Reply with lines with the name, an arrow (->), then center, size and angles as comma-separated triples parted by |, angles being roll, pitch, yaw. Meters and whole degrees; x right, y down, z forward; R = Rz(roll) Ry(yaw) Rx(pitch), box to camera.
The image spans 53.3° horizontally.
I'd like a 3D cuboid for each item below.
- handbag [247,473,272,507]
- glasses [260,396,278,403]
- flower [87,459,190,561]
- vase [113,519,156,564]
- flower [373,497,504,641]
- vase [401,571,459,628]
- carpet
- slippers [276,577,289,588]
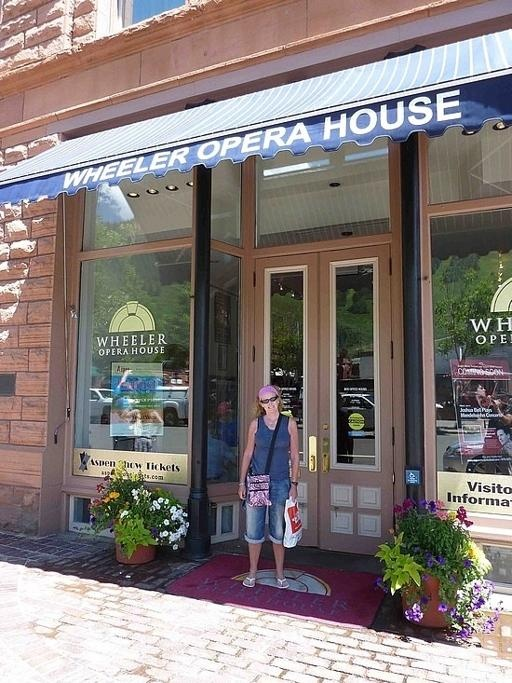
handbag -> 0.035, 1.233, 4.251 | 0.250, 0.309, 0.116 | 0, -12, 0
glasses -> 0.113, 0.477, 4.248 | 0.140, 0.066, 0.074 | 0, -7, -2
flower -> -1.194, 1.819, 5.164 | 0.801, 0.870, 0.862 | -8, -15, 25
vase -> -1.145, 1.885, 4.820 | 0.359, 0.361, 0.470 | 1, -4, -12
flower -> 1.278, 1.498, 3.616 | 0.633, 0.679, 0.745 | 4, -8, -22
vase -> 1.143, 1.743, 3.520 | 0.311, 0.367, 0.367 | 0, -8, -1
carpet -> 0.197, 2.009, 4.212 | 1.642, 0.030, 1.103 | -3, -7, 21
slippers -> 0.215, 1.983, 4.226 | 0.091, 0.059, 0.178 | 0, 1, -1
